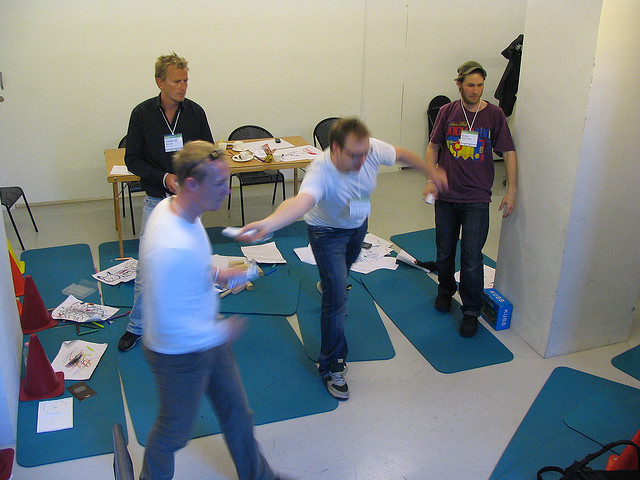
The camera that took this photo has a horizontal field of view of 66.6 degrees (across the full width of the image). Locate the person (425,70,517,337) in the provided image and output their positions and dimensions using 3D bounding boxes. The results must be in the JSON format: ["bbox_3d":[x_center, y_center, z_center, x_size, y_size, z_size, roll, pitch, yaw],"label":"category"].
[{"bbox_3d":[1.122,-0.330,3.905,0.685,2.068,0.782,12,22,38],"label":"person"}]

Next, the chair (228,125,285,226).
[{"bbox_3d":[-0.757,-0.816,6.007,0.712,1.124,0.764,-14,24,-33],"label":"chair"}]

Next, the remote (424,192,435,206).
[{"bbox_3d":[0.856,-0.328,3.924,0.083,0.092,0.084,25,34,37],"label":"remote"}]

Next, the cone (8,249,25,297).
[{"bbox_3d":[-2.741,0.289,4.396,0.091,0.410,0.230,-16,24,-31],"label":"cone"}]

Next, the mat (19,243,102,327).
[{"bbox_3d":[-2.553,0.308,4.779,0.591,0.269,1.116,-14,44,-25],"label":"mat"}]

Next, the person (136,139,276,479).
[{"bbox_3d":[-0.677,0.488,2.464,0.670,1.861,0.372,-11,22,-19],"label":"person"}]

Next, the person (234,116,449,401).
[{"bbox_3d":[0.009,0.220,3.471,0.944,2.039,1.205,-3,7,-30],"label":"person"}]

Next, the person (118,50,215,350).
[{"bbox_3d":[-1.248,-0.191,4.294,0.754,2.644,0.742,-3,27,-19],"label":"person"}]

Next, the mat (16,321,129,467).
[{"bbox_3d":[-1.752,1.074,3.427,0.661,0.259,1.215,-13,23,-24],"label":"mat"}]
